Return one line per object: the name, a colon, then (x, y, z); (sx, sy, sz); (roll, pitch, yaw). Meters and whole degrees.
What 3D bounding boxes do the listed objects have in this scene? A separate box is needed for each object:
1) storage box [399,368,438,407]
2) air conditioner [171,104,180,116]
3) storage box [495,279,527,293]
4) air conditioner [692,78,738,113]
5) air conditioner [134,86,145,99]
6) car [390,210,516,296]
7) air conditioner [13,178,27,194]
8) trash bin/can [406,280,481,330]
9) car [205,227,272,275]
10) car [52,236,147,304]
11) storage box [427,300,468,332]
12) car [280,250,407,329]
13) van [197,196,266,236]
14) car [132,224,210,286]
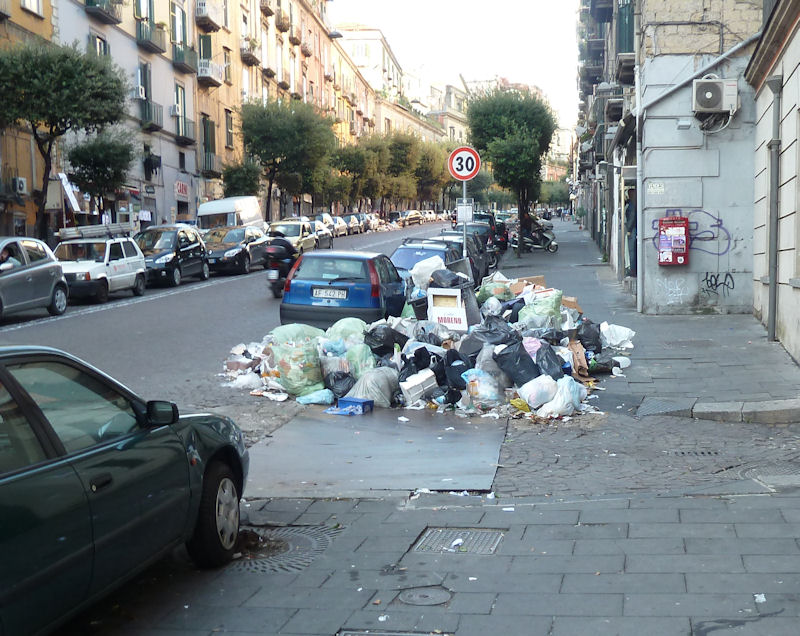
storage box: (0.179, 0.795, 9.107); (0.535, 0.268, 0.314); (-32, 14, -27)
air conditioner: (-11.778, -11.034, 40.840); (0.377, 0.709, 0.725); (-1, 2, -3)
storage box: (2.092, -0.581, 14.138); (0.454, 0.185, 0.716); (-5, 10, 9)
air conditioner: (6.124, -4.211, 15.117); (0.990, 0.817, 0.569); (0, -2, 8)
air conditioner: (-12.380, -10.685, 36.929); (0.233, 0.631, 1.457); (-7, 10, -6)
car: (1.434, -1.393, 20.407); (1.694, 1.930, 5.391); (2, 14, 21)
air conditioner: (-12.962, -4.501, 26.425); (0.188, 0.571, 0.611); (0, 0, 15)
trash bin/can: (0.751, -0.155, 11.576); (0.859, 0.702, 0.723); (-2, -4, -6)
car: (-5.995, -2.519, 28.540); (1.305, 1.027, 2.907); (-1, 2, 9)
car: (-7.982, -1.304, 20.493); (1.393, 1.190, 2.307); (-2, -1, 13)
storage box: (0.697, -0.044, 11.424); (0.701, 0.419, 0.218); (2, 12, 41)
car: (-0.852, -0.583, 13.161); (1.085, 0.919, 1.984); (0, 10, 7)
van: (-7.433, -4.540, 34.089); (1.788, 1.905, 3.297); (-3, 2, 5)
car: (-7.395, -2.075, 24.697); (1.404, 1.304, 2.448); (-1, 1, 11)
